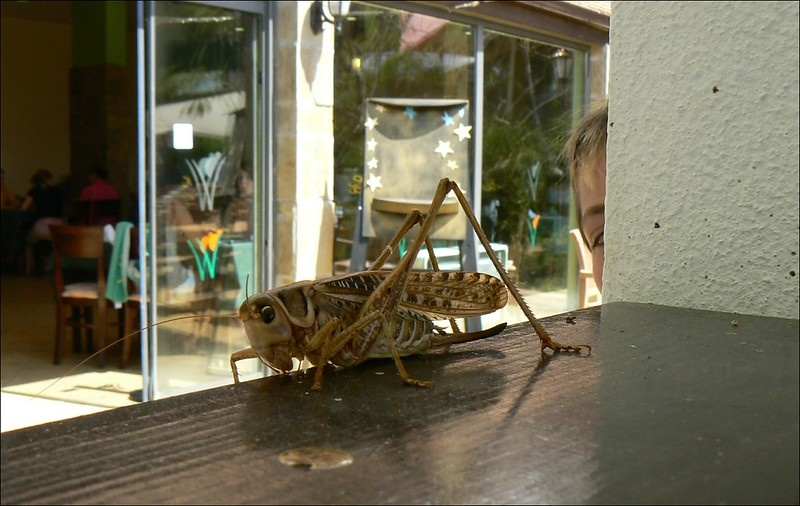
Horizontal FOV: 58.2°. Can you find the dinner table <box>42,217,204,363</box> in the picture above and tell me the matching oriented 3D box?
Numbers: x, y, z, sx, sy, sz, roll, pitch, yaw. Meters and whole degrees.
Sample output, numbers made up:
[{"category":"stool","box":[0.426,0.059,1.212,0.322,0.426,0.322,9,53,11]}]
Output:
[{"category":"dinner table","box":[-1.760,0.251,4.059,0.338,0.611,0.391,0,-4,-2]}]

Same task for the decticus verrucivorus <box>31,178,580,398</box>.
[{"category":"decticus verrucivorus","box":[-0.088,0.082,1.123,0.655,0.264,0.369,0,-8,-29]}]

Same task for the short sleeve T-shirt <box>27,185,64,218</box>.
[{"category":"short sleeve T-shirt","box":[-2.835,-0.388,5.809,0.261,0.311,0.153,5,-25,-16]}]

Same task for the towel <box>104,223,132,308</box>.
[{"category":"towel","box":[-1.517,0.068,3.875,0.143,0.440,0.140,0,0,-9]}]
